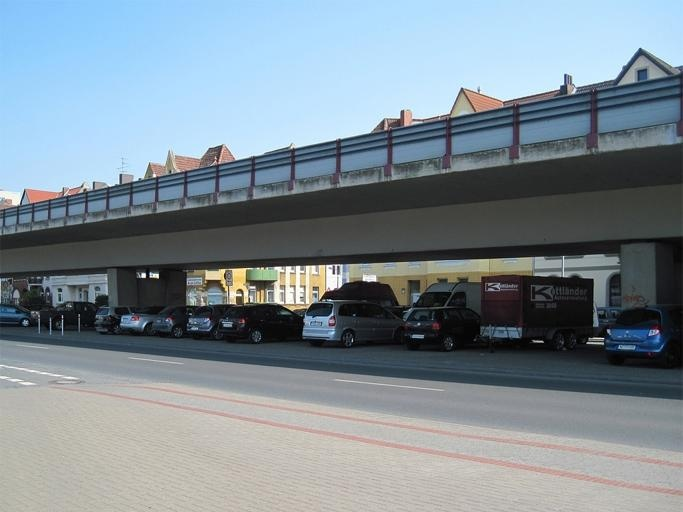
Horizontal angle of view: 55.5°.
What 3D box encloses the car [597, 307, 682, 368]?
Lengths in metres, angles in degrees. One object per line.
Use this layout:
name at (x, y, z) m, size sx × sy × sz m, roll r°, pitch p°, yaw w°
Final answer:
car at (8.939, 2.301, 19.160) m, size 2.227 × 1.111 × 1.364 m, roll -1°, pitch -2°, yaw -42°
